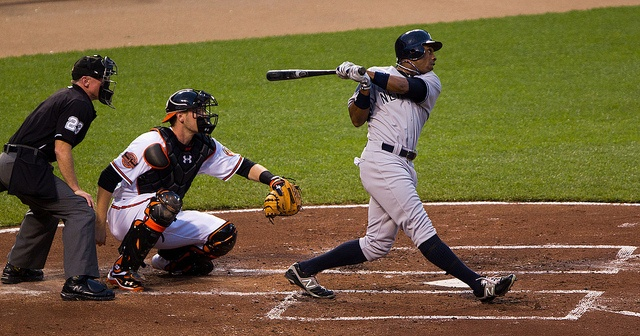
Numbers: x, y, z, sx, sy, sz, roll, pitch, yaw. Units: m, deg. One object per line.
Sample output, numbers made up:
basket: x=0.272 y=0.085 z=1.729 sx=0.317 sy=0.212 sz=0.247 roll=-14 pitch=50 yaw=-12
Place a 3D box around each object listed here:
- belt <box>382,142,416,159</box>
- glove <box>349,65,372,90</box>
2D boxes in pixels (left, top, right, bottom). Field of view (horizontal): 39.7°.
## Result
belt: x=1.475 y=-0.300 z=16.167 sx=0.460 sy=0.102 sz=0.374 roll=13 pitch=-6 yaw=5
glove: x=0.807 y=-1.638 z=16.056 sx=0.181 sy=0.419 sz=0.338 roll=-34 pitch=-6 yaw=4
